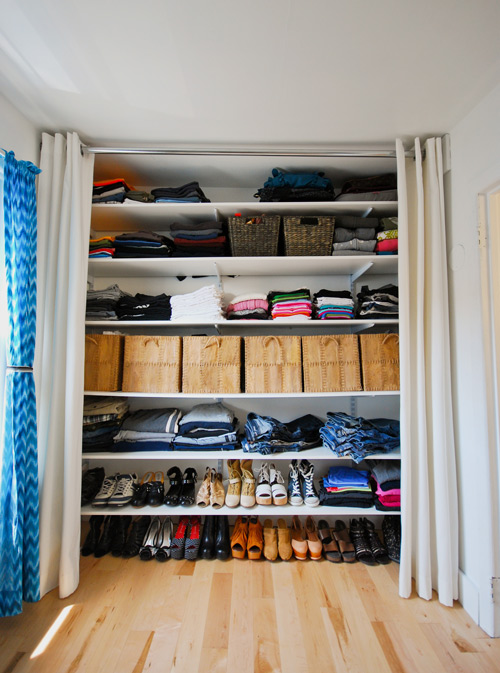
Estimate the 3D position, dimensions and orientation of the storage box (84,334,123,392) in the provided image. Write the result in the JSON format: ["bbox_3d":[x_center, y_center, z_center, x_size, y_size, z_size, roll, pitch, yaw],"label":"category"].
[{"bbox_3d":[-0.810,0.136,2.876,0.181,0.302,0.310,3,1,-8],"label":"storage box"}]

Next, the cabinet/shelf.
[{"bbox_3d":[-0.043,0.139,2.757,1.838,1.689,0.664,0,-5,0],"label":"cabinet/shelf"}]

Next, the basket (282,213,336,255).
[{"bbox_3d":[0.305,-0.524,2.708,0.328,0.239,0.190,0,2,-2],"label":"basket"}]

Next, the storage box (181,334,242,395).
[{"bbox_3d":[-0.201,0.153,2.720,0.299,0.295,0.301,0,-4,-4],"label":"storage box"}]

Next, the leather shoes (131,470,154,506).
[{"bbox_3d":[-0.570,0.813,2.751,0.091,0.107,0.272,1,-5,-2],"label":"leather shoes"}]

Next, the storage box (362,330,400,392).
[{"bbox_3d":[0.697,0.146,2.804,0.299,0.297,0.253,4,-9,-44],"label":"storage box"}]

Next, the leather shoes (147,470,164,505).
[{"bbox_3d":[-0.504,0.810,2.744,0.111,0.105,0.336,1,0,-8],"label":"leather shoes"}]

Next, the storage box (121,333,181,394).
[{"bbox_3d":[-0.535,0.154,2.869,0.298,0.296,0.307,1,-3,-4],"label":"storage box"}]

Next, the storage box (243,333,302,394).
[{"bbox_3d":[0.152,0.146,2.818,0.318,0.298,0.237,-2,-2,20],"label":"storage box"}]
